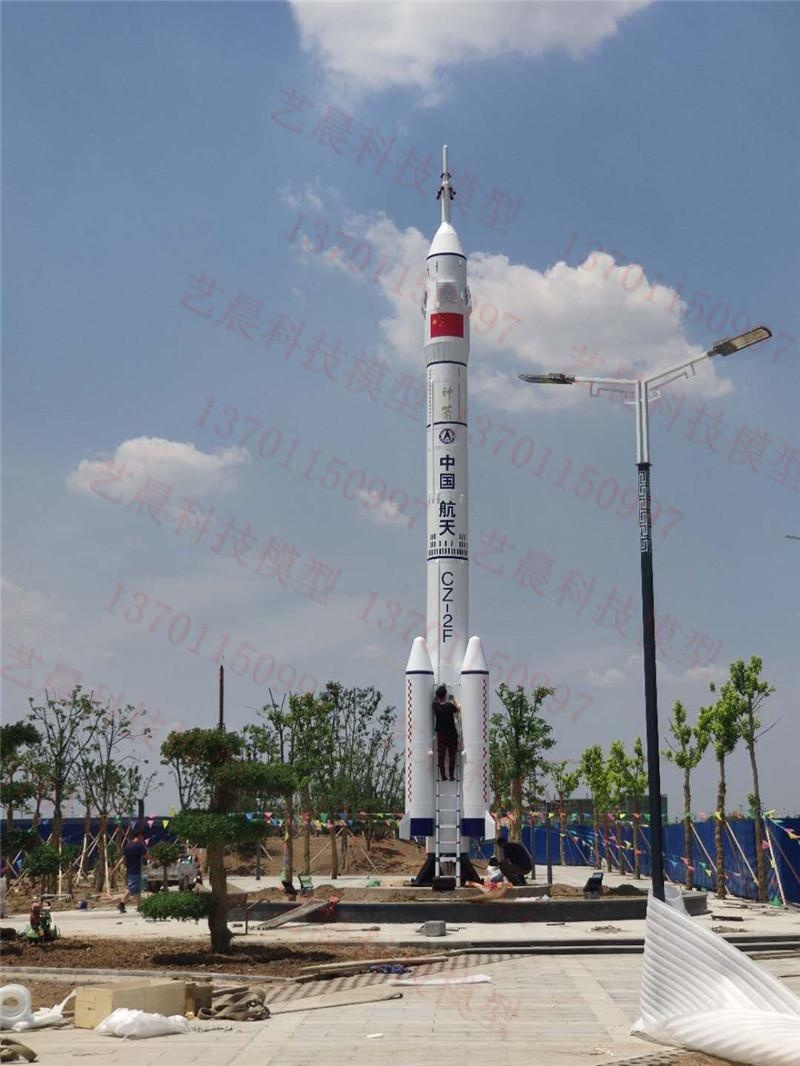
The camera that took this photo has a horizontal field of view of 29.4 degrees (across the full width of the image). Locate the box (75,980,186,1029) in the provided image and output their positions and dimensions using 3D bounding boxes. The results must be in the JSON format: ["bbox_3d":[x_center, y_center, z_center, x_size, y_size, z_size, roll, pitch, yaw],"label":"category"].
[{"bbox_3d":[-3.066,5.402,17.380,1.230,0.498,0.755,4,-16,-14],"label":"box"}]

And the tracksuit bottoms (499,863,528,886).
[{"bbox_3d":[2.608,7.942,35.141,0.488,0.514,0.613,-13,8,-41],"label":"tracksuit bottoms"}]

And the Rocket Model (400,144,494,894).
[{"bbox_3d":[1.159,-1.000,39.166,1.925,19.658,1.396,-4,-16,14],"label":"Rocket Model"}]

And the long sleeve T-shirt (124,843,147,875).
[{"bbox_3d":[-6.136,7.506,35.170,0.431,0.764,0.912,4,-16,-12],"label":"long sleeve T-shirt"}]
